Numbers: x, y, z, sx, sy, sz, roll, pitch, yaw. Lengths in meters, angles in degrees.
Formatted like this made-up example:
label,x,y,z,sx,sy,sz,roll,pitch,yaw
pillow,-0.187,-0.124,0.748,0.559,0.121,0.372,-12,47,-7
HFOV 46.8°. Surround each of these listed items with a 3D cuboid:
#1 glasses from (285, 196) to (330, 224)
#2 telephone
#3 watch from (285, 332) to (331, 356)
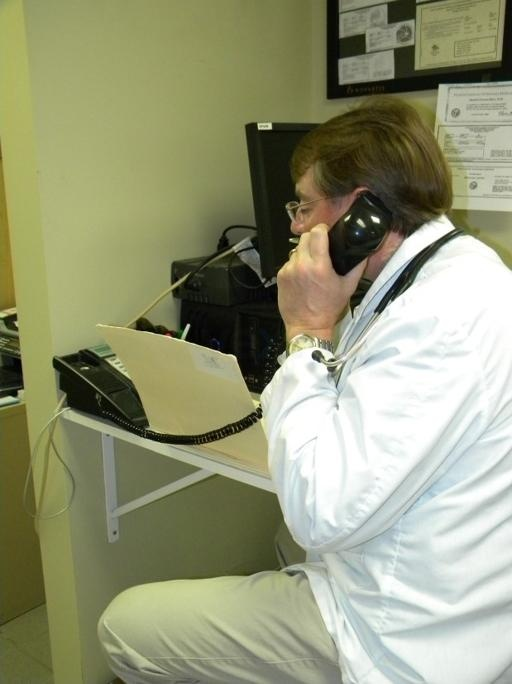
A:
label,x,y,z,sx,sy,sz,roll,pitch,yaw
glasses,0.092,-0.236,1.038,0.061,0.020,0.059,-27,15,-9
telephone,0.165,-0.179,0.971,0.070,0.130,0.047,47,45,12
watch,0.078,0.001,0.885,0.052,0.033,0.052,-7,-3,-39
